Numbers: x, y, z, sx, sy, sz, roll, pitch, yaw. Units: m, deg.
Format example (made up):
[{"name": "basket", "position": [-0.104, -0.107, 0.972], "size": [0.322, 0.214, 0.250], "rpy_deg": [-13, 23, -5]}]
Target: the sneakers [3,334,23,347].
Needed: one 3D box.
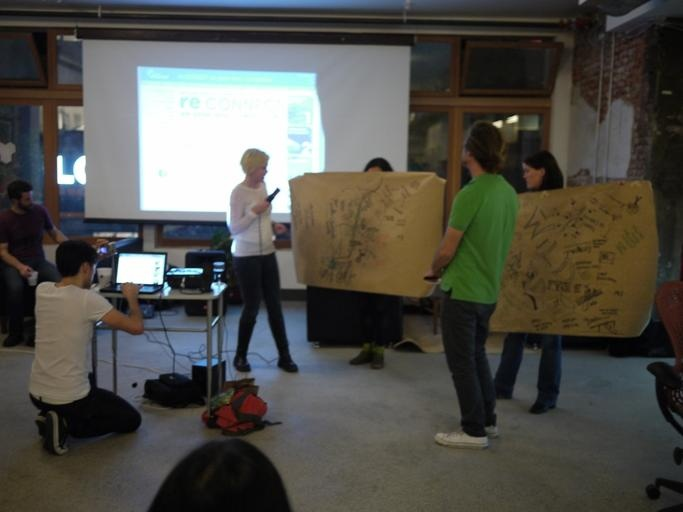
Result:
[{"name": "sneakers", "position": [-3.334, 0.846, 5.909], "size": [0.190, 0.096, 0.159], "rpy_deg": [-8, 15, -32]}]

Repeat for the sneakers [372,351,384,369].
[{"name": "sneakers", "position": [0.349, 0.975, 5.530], "size": [0.096, 0.126, 0.290], "rpy_deg": [0, -12, 1]}]

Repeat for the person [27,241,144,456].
[{"name": "person", "position": [-1.800, 0.607, 4.101], "size": [0.742, 1.424, 0.406], "rpy_deg": [-7, 15, -29]}]

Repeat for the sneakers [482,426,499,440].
[{"name": "sneakers", "position": [1.102, 1.261, 4.239], "size": [0.069, 0.087, 0.125], "rpy_deg": [1, 6, 13]}]

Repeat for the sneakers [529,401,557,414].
[{"name": "sneakers", "position": [1.595, 1.183, 4.676], "size": [0.245, 0.108, 0.091], "rpy_deg": [-5, 1, -19]}]

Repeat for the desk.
[{"name": "desk", "position": [-1.520, 0.596, 4.993], "size": [1.205, 1.162, 0.977], "rpy_deg": [0, 2, 3]}]

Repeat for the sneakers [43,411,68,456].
[{"name": "sneakers", "position": [-1.972, 1.189, 4.029], "size": [0.152, 0.317, 0.145], "rpy_deg": [-11, 17, -41]}]

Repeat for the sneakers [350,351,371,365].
[{"name": "sneakers", "position": [0.203, 0.971, 5.633], "size": [0.249, 0.176, 0.091], "rpy_deg": [0, 1, -13]}]

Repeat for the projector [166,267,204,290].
[{"name": "projector", "position": [-1.258, 0.161, 4.729], "size": [0.345, 0.176, 0.189], "rpy_deg": [2, 13, 8]}]

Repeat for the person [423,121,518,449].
[{"name": "person", "position": [0.927, 0.208, 4.093], "size": [0.455, 2.230, 0.546], "rpy_deg": [12, 17, 42]}]

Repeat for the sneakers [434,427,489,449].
[{"name": "sneakers", "position": [0.848, 1.290, 4.187], "size": [0.350, 0.145, 0.141], "rpy_deg": [1, -2, 9]}]

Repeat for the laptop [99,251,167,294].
[{"name": "laptop", "position": [-1.616, 0.117, 4.685], "size": [0.415, 0.319, 0.258], "rpy_deg": [0, 9, -1]}]

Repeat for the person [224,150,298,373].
[{"name": "person", "position": [-0.715, 0.053, 5.320], "size": [0.579, 2.003, 0.440], "rpy_deg": [-1, 13, -7]}]
